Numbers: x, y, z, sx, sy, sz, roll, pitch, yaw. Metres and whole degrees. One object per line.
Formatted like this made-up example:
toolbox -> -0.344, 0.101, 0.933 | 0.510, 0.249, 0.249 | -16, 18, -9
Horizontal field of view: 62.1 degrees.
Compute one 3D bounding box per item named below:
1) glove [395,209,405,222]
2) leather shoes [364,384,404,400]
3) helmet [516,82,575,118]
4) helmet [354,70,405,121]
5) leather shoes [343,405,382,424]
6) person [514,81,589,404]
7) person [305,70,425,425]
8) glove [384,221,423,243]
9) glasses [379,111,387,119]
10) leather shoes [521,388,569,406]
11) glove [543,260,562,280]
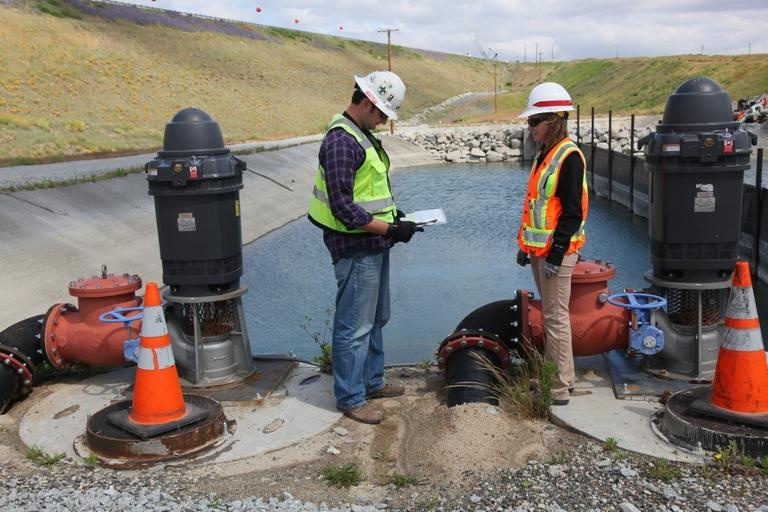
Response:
glove -> 0.120, -0.372, 6.022 | 0.093, 0.112, 0.114 | 3, -2, 16
leather shoes -> 0.006, 1.338, 6.404 | 0.409, 0.152, 0.142 | -3, 6, -5
helmet -> 1.498, -1.408, 5.858 | 0.471, 0.247, 0.343 | -1, 13, -7
helmet -> -0.044, -1.453, 5.863 | 0.508, 0.259, 0.408 | 37, 29, -3
leather shoes -> -0.196, 1.469, 5.959 | 0.344, 0.123, 0.147 | 2, 0, 21
person -> 1.548, -0.121, 5.868 | 0.628, 2.860, 0.896 | 1, 15, 12
person -> -0.202, -0.077, 5.912 | 0.865, 3.141, 0.865 | 5, 16, 26
glove -> 0.185, -0.212, 5.813 | 0.282, 0.094, 0.197 | -7, 22, -21
glasses -> -0.005, -1.273, 5.820 | 0.051, 0.024, 0.066 | 15, -1, 8
leather shoes -> 1.458, 1.315, 5.825 | 0.331, 0.072, 0.187 | 9, -4, -22
glove -> 1.497, 0.125, 5.724 | 0.149, 0.125, 0.124 | 31, 2, -16
